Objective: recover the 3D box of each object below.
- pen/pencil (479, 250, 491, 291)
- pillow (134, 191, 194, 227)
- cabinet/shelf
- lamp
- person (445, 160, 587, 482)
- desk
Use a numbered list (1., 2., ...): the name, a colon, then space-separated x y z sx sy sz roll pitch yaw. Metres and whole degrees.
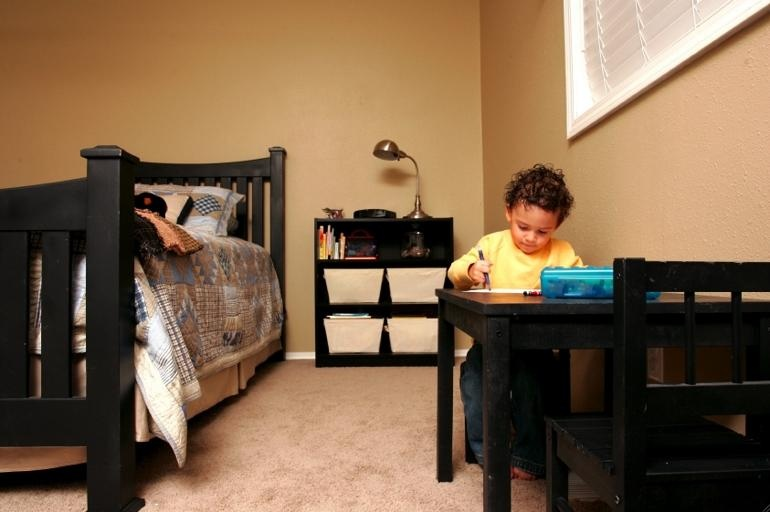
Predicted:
1. pen/pencil: 0.373 0.057 2.339 0.022 0.223 0.023 -9 -13 14
2. pillow: -1.162 -0.279 3.300 0.271 0.076 0.259 18 30 0
3. cabinet/shelf: -0.028 0.233 3.576 0.825 0.947 0.297 0 -2 -1
4. lamp: 0.097 -0.476 3.816 0.328 0.445 0.461 -1 12 -2
5. person: 0.525 0.245 2.317 0.579 1.139 0.620 -1 -8 38
6. desk: 0.584 0.308 2.141 0.776 0.613 0.757 0 -2 -5
